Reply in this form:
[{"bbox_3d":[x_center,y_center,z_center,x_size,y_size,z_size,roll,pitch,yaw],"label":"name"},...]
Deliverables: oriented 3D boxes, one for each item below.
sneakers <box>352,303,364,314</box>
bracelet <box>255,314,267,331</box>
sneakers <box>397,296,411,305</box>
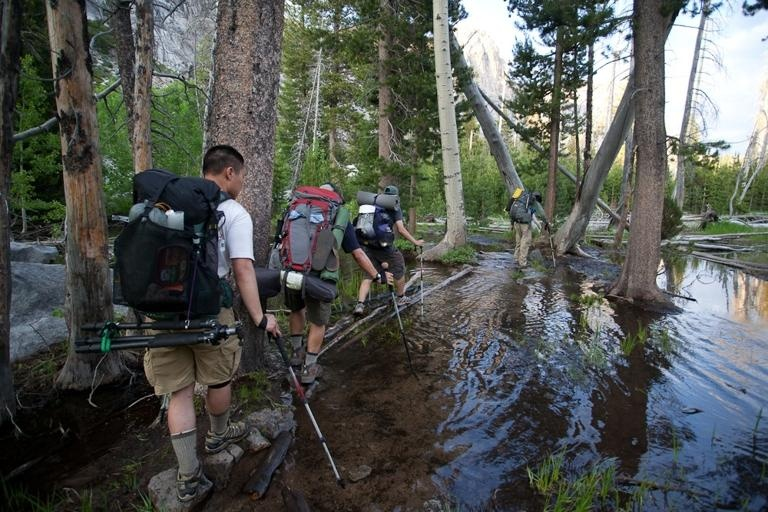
[{"bbox_3d":[-0.619,1.307,13.200,0.186,0.280,0.146,13,-10,3],"label":"sneakers"},{"bbox_3d":[-2.124,1.210,9.533,0.172,0.270,0.086,-2,-21,29],"label":"bracelet"},{"bbox_3d":[0.540,1.214,14.420,0.166,0.250,0.507,3,12,36],"label":"sneakers"}]
